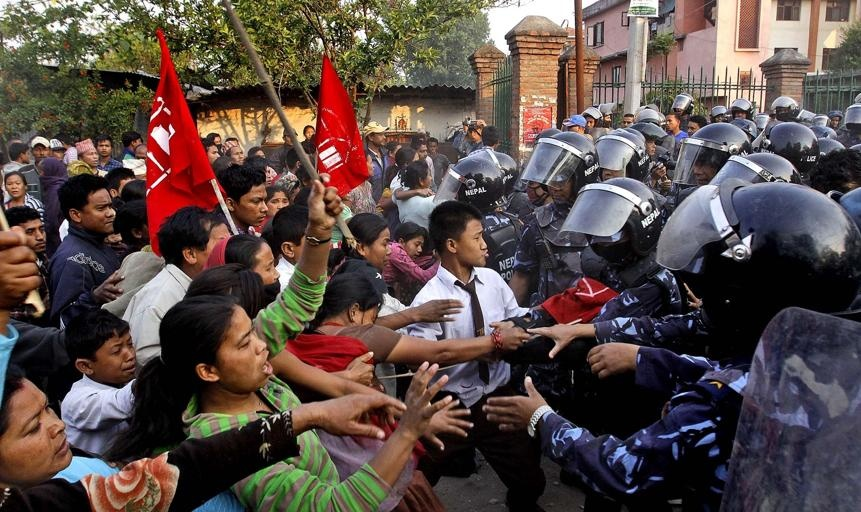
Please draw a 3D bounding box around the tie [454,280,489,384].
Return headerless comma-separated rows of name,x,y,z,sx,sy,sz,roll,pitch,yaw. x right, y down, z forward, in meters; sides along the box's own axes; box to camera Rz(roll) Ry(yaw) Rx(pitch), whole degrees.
tie,0.335,0.545,4.597,0.234,0.705,0.058,-5,-7,3
